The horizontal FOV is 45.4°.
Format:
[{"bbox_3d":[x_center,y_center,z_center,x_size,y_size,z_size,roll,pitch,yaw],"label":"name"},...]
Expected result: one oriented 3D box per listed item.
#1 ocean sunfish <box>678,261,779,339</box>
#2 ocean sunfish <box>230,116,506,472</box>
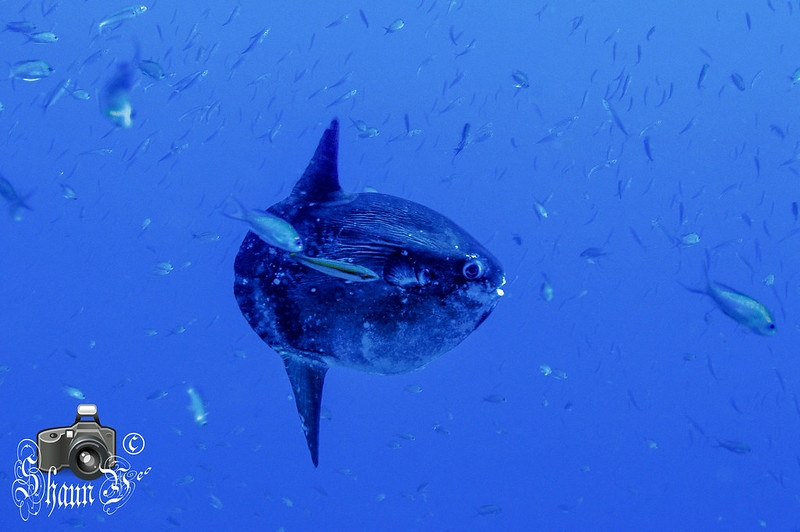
[{"bbox_3d":[2.403,0.296,6.720,0.808,0.192,0.352,29,103,-3],"label":"ocean sunfish"},{"bbox_3d":[-0.338,0.142,8.120,2.025,1.114,1.518,37,60,1],"label":"ocean sunfish"}]
